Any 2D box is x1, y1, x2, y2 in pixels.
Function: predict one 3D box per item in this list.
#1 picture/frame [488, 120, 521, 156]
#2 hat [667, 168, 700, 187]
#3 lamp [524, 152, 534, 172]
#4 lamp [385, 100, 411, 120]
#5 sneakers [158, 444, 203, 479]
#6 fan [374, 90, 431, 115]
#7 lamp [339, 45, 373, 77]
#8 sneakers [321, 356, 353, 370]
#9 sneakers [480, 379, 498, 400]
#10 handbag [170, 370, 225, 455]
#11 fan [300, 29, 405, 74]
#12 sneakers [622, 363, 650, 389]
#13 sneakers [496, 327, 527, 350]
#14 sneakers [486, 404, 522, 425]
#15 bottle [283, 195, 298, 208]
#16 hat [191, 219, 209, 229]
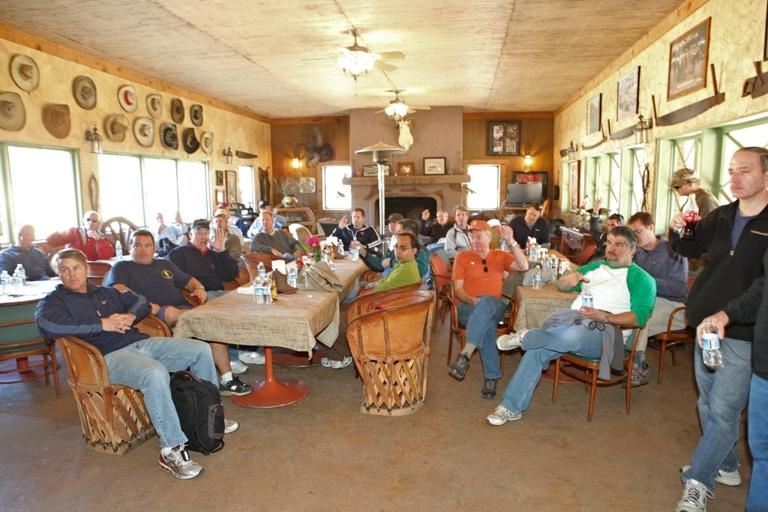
[{"bbox_3d":[3.313,-3.194,14.545,0.081,0.909,0.993,-19,22,-40],"label":"picture/frame"},{"bbox_3d":[3.595,-0.942,6.348,0.269,0.295,0.321,-9,15,-34],"label":"hat"},{"bbox_3d":[3.961,-2.570,14.532,0.274,0.465,0.170,-4,10,-1],"label":"lamp"},{"bbox_3d":[0.297,-2.908,10.421,0.420,0.421,1.191,-3,8,4],"label":"lamp"},{"bbox_3d":[-1.771,1.792,4.672,0.490,0.203,0.198,4,9,36],"label":"sneakers"},{"bbox_3d":[0.429,-3.446,11.830,1.065,0.439,1.188,4,11,36],"label":"fan"},{"bbox_3d":[-0.363,-2.804,7.676,0.479,0.405,0.486,-1,9,19],"label":"lamp"},{"bbox_3d":[-0.576,1.279,6.388,0.267,0.086,0.183,8,2,-3],"label":"sneakers"},{"bbox_3d":[1.122,1.414,5.645,0.116,0.231,0.250,4,8,2],"label":"sneakers"},{"bbox_3d":[-1.706,1.433,4.865,0.467,0.726,0.224,-2,10,12],"label":"handbag"},{"bbox_3d":[-0.407,-2.922,7.796,1.283,0.757,1.063,-3,1,-8],"label":"fan"},{"bbox_3d":[2.674,1.259,5.605,0.142,0.162,0.411,-1,-5,21],"label":"sneakers"},{"bbox_3d":[1.300,0.867,5.457,0.463,0.141,0.170,-12,9,-1],"label":"sneakers"},{"bbox_3d":[1.165,1.569,5.260,0.365,0.146,0.148,1,-1,-13],"label":"sneakers"},{"bbox_3d":[-2.541,-1.493,14.402,0.342,0.360,0.342,3,-2,10],"label":"bottle"},{"bbox_3d":[-2.299,-0.402,6.699,0.179,0.097,0.264,0,4,-32],"label":"hat"}]
